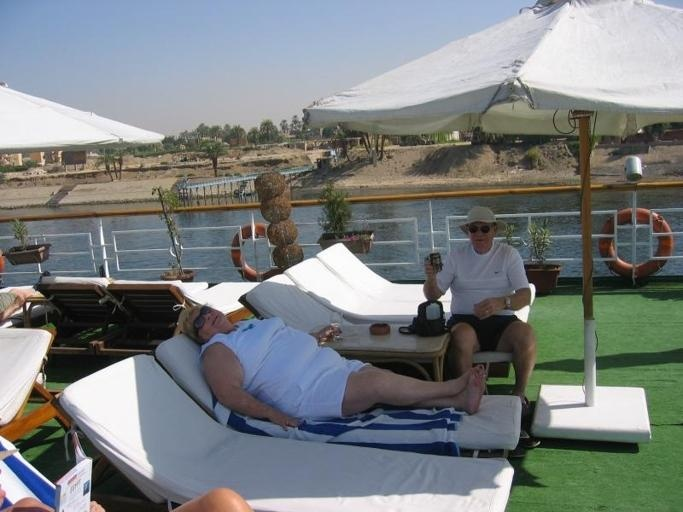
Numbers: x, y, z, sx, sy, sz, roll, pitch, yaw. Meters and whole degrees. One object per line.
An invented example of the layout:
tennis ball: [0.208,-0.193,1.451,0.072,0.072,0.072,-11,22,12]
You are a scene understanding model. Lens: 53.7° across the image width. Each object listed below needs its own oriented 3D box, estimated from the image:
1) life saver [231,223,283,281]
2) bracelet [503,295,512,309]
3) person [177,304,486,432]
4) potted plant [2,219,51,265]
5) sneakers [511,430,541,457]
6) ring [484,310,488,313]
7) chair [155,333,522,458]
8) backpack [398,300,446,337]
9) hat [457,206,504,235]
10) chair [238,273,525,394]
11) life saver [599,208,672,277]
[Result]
life saver: [-1.033,-0.050,7.755,0.466,0.705,1.234,-9,9,-9]
bracelet: [1.027,0.285,4.155,0.054,0.068,0.067,-6,8,-25]
person: [-0.088,0.595,3.707,1.662,0.523,0.759,9,20,3]
potted plant: [-3.587,-0.147,7.625,0.470,0.552,0.552,-11,10,-22]
sneakers: [1.018,1.035,3.744,0.256,0.087,0.088,-7,7,-23]
ring: [0.879,0.336,4.084,0.016,0.010,0.015,-2,7,0]
chair: [0.115,0.700,3.681,1.548,0.471,0.851,1,8,16]
backpack: [0.494,0.384,4.177,0.212,0.180,0.304,-5,2,-27]
hat: [0.906,-0.239,4.293,0.197,0.092,0.227,-2,-9,26]
chair: [0.092,0.444,4.333,1.240,0.418,0.671,5,10,18]
life saver: [2.935,-0.106,6.707,0.730,0.694,0.182,-2,-14,13]
